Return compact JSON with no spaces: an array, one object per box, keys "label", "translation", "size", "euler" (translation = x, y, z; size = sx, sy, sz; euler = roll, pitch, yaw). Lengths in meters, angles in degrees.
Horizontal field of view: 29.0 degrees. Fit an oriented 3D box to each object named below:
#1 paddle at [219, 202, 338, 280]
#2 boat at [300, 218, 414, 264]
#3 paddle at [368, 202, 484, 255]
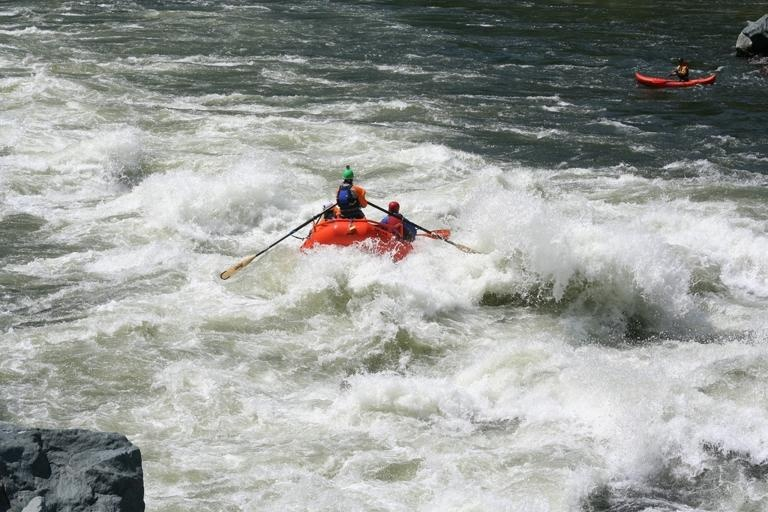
[{"label":"paddle","translation":[-2.918,-0.426,41.983],"size":[3.838,0.303,0.184],"euler":[-32,56,-7]},{"label":"boat","translation":[-0.753,-0.521,41.919],"size":[2.981,0.876,0.850],"euler":[4,40,7]},{"label":"paddle","translation":[1.250,-0.746,43.035],"size":[3.499,0.193,0.343],"euler":[22,32,-6]}]
